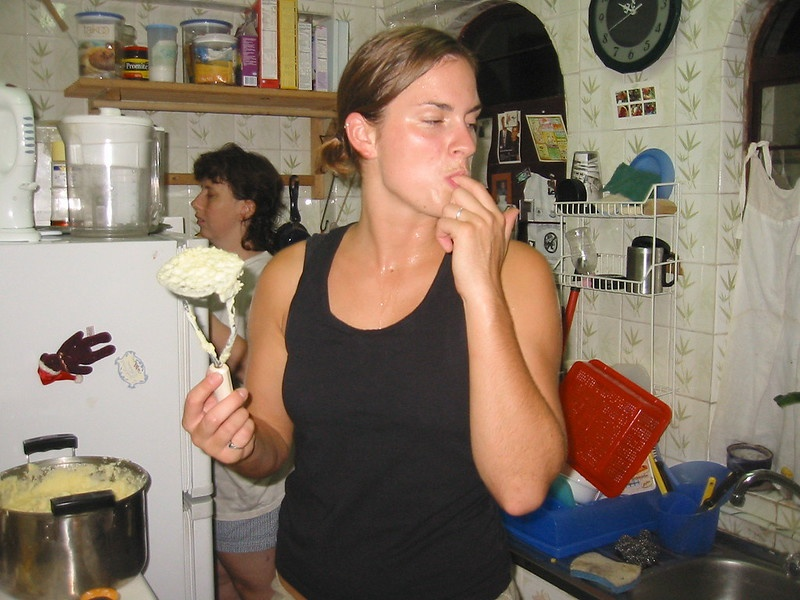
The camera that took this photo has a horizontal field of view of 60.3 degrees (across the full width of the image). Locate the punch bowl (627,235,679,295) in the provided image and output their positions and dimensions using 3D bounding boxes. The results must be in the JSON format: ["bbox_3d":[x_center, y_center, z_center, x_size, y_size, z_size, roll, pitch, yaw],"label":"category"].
[{"bbox_3d":[0.825,-0.111,2.265,0.221,0.223,0.131,0,3,-7],"label":"punch bowl"}]

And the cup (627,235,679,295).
[{"bbox_3d":[0.830,-0.114,2.269,0.160,0.190,0.122,0,6,14],"label":"cup"}]

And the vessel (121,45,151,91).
[{"bbox_3d":[-1.114,-1.008,3.000,0.154,0.162,0.150,-1,8,-16],"label":"vessel"}]

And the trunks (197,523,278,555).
[{"bbox_3d":[-0.509,0.779,2.307,0.163,0.104,0.162,2,0,-6],"label":"trunks"}]

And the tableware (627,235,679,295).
[{"bbox_3d":[0.830,-0.114,2.269,0.160,0.190,0.122,0,6,14],"label":"tableware"}]

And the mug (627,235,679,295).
[{"bbox_3d":[0.830,-0.114,2.269,0.160,0.190,0.122,0,6,14],"label":"mug"}]

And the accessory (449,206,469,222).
[{"bbox_3d":[0.113,-0.168,1.335,0.026,0.026,0.008,-12,-24,32],"label":"accessory"}]

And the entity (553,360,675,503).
[{"bbox_3d":[0.645,0.406,2.163,0.172,0.392,0.371,-5,7,-33],"label":"entity"}]

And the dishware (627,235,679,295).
[{"bbox_3d":[0.830,-0.114,2.269,0.160,0.190,0.122,0,6,14],"label":"dishware"}]

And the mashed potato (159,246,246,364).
[{"bbox_3d":[-0.370,0.013,1.294,0.152,0.221,0.099,0,6,7],"label":"mashed potato"}]

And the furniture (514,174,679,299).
[{"bbox_3d":[0.692,-0.213,2.330,0.178,0.352,0.486,1,7,-28],"label":"furniture"}]
